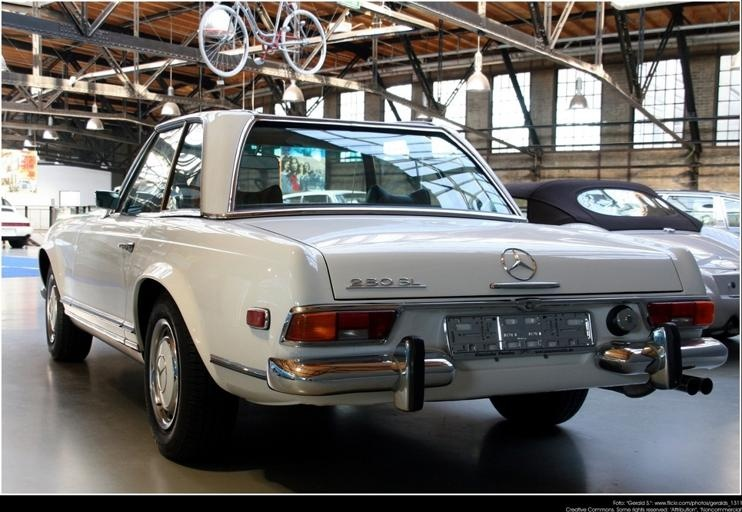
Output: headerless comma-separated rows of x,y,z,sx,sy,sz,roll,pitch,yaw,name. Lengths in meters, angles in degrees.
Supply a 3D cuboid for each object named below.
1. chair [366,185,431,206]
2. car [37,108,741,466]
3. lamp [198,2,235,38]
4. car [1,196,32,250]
0.190,-0.353,3.596,0.313,0.105,0.166,1,-1,-17,chair
-0.559,0.028,3.947,2.029,1.227,3.833,3,3,-27,car
-2.474,-3.793,9.266,0.547,0.466,0.765,-2,9,-13,lamp
-12.201,-1.093,19.905,0.815,1.656,1.799,-1,5,-31,car
